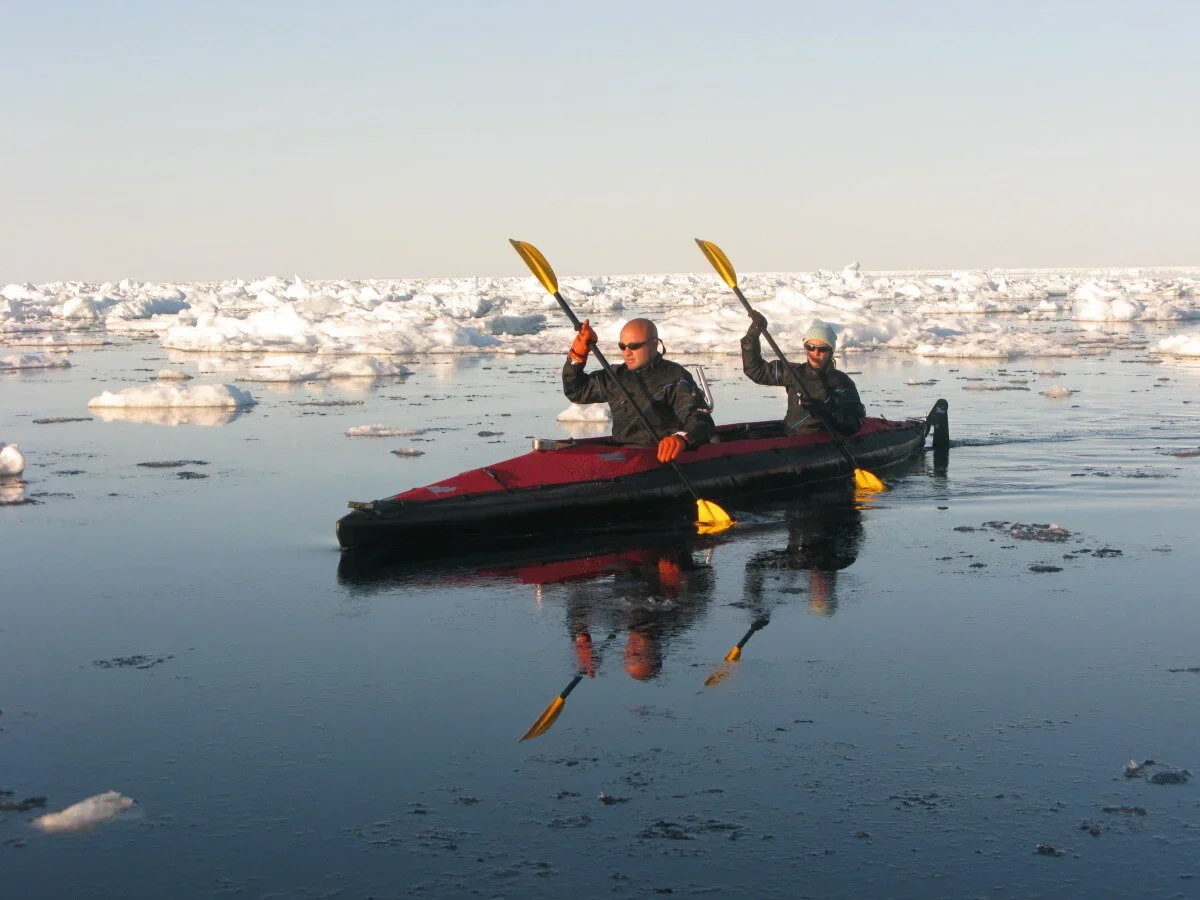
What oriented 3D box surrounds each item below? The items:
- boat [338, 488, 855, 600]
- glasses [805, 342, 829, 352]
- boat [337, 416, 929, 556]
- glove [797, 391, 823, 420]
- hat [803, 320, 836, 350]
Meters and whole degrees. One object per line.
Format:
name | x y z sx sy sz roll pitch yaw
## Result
boat | -0.020 0.677 9.900 4.029 0.377 1.017 -5 10 -24
glasses | 2.014 -0.962 12.361 0.228 0.098 0.171 0 11 4
boat | 0.648 0.298 11.067 6.060 0.523 1.321 -6 8 -32
glove | 1.945 -0.396 12.329 0.213 0.269 0.226 -1 14 6
hat | 2.034 -1.064 12.356 0.353 0.284 0.255 3 37 18
